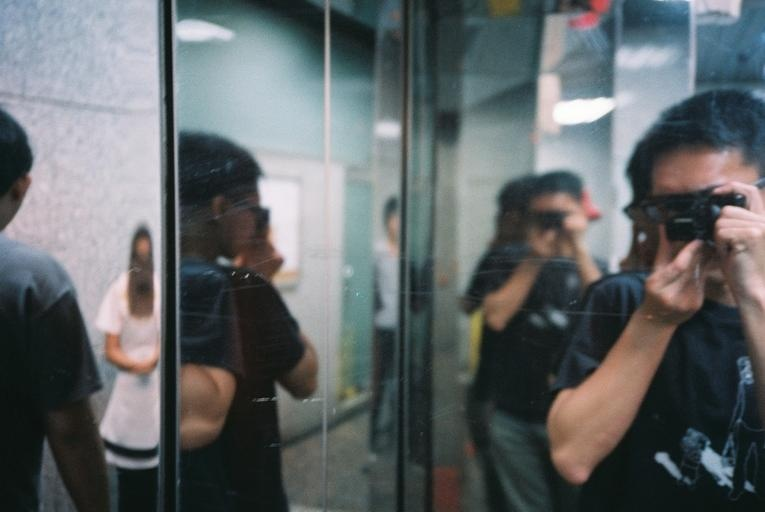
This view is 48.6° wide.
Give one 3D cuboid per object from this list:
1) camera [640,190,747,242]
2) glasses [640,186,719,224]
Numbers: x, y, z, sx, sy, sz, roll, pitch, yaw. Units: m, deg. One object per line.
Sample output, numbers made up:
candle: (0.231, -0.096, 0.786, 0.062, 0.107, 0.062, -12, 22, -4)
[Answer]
camera: (0.979, -0.130, 2.690, 0.309, 0.163, 0.050, 1, 5, -4)
glasses: (0.915, -0.161, 2.743, 0.319, 0.096, 0.031, -9, -3, 3)
